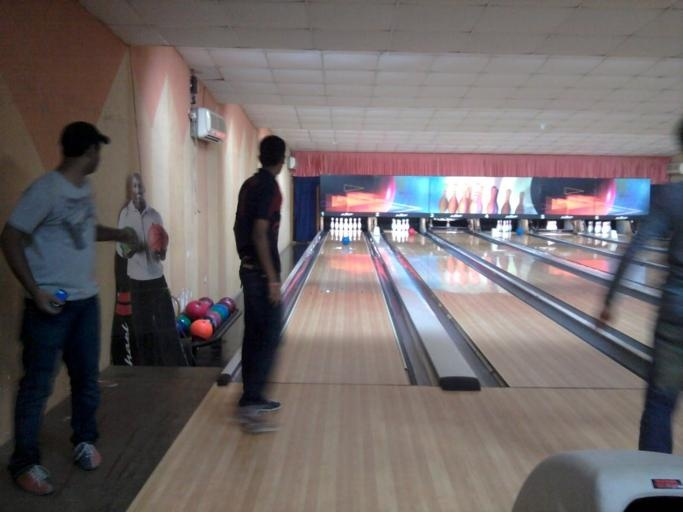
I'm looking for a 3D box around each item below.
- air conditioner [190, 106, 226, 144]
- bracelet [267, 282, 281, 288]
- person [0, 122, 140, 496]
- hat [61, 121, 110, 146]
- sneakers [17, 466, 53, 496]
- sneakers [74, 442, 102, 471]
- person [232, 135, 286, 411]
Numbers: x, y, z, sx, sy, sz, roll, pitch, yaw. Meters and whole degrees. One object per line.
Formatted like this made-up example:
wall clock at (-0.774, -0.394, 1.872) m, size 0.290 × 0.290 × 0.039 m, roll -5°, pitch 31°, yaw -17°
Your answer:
air conditioner at (-1.359, -1.318, 5.067) m, size 0.191 × 0.295 × 0.570 m, roll 6°, pitch 7°, yaw 3°
bracelet at (-0.318, 0.137, 2.317) m, size 0.050 × 0.026 × 0.033 m, roll -5°, pitch 11°, yaw -24°
person at (-1.200, 0.204, 2.116) m, size 0.520 × 1.510 × 0.284 m, roll -9°, pitch 13°, yaw -40°
hat at (-1.070, -0.493, 2.080) m, size 0.162 × 0.085 × 0.114 m, roll -19°, pitch 19°, yaw -35°
sneakers at (-1.313, 0.929, 2.094) m, size 0.200 × 0.091 × 0.075 m, roll 6°, pitch 3°, yaw 28°
sneakers at (-1.123, 0.891, 2.186) m, size 0.135 × 0.049 × 0.087 m, roll 47°, pitch 50°, yaw 11°
person at (-0.405, 0.107, 2.423) m, size 0.272 × 1.357 × 0.290 m, roll -1°, pitch 10°, yaw -2°
